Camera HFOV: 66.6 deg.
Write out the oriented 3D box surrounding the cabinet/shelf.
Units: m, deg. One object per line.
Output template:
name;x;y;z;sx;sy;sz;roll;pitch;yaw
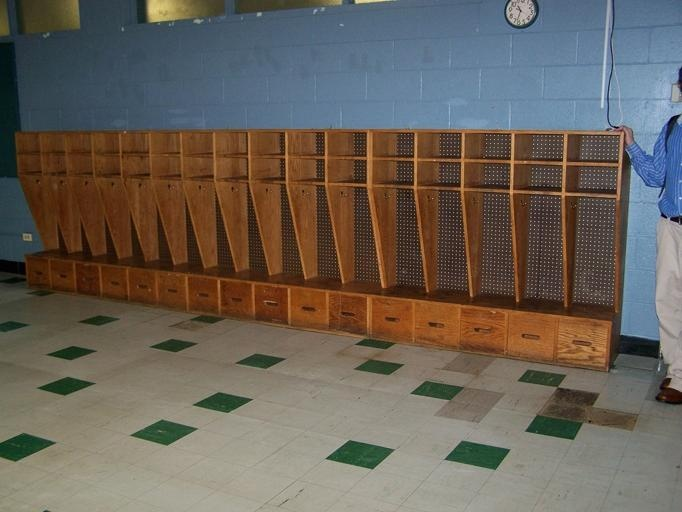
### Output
cabinet/shelf;-0.486;-0.325;5.698;6.488;2.087;0.847;4;16;20
